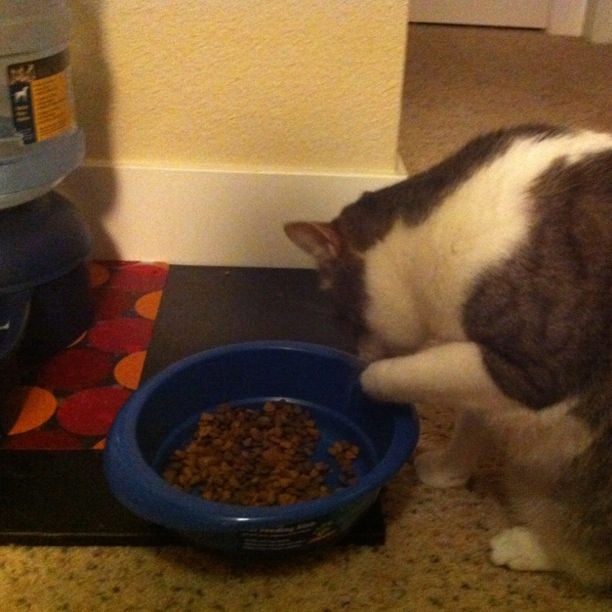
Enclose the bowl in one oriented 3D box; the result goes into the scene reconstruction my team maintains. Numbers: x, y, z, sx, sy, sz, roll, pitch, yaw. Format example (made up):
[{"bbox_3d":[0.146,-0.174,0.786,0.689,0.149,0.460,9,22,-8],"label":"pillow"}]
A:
[{"bbox_3d":[-0.080,0.220,1.066,0.430,0.130,0.317,6,30,-3],"label":"bowl"}]
